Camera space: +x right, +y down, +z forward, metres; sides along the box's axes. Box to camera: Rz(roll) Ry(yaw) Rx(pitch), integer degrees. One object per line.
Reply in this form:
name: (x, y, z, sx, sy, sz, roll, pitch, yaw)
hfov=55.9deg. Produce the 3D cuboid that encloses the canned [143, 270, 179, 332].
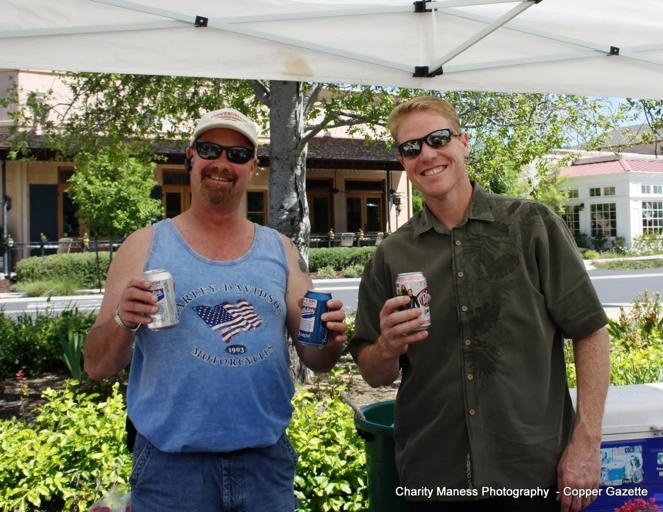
canned: (-0.770, 0.202, 2.770, 0.160, 0.258, 0.154, -8, 10, -19)

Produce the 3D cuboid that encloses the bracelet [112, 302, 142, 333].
bracelet: (-0.918, 0.291, 2.734, 0.120, 0.133, 0.048, -17, 33, 47)
